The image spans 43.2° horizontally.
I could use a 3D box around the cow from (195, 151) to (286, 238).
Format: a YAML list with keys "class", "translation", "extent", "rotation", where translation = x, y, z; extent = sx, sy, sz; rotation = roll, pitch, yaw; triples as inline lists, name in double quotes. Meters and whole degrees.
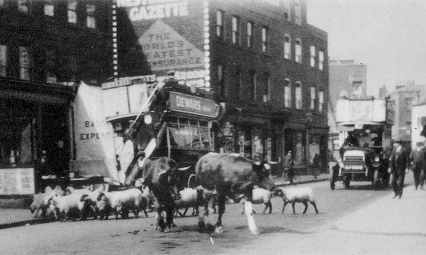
- class: "cow"
  translation: [0.809, 2.650, 22.379]
  extent: [2.984, 3.286, 3.282]
  rotation: [-2, 9, -3]

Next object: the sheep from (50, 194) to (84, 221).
- class: "sheep"
  translation: [-6.596, 3.627, 24.692]
  extent: [1.468, 1.146, 0.610]
  rotation: [-2, 10, 0]

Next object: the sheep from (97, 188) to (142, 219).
- class: "sheep"
  translation: [-4.233, 3.487, 24.449]
  extent: [1.791, 0.836, 0.520]
  rotation: [0, 10, -10]

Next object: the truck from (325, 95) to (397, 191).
- class: "truck"
  translation: [9.223, 1.075, 33.031]
  extent: [3.486, 4.842, 7.937]
  rotation: [-1, -3, 30]

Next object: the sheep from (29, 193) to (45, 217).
- class: "sheep"
  translation: [-8.192, 3.566, 25.175]
  extent: [0.477, 1.095, 0.819]
  rotation: [-12, 14, -41]

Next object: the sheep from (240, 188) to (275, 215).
- class: "sheep"
  translation: [2.040, 3.414, 25.028]
  extent: [2.065, 1.134, 0.585]
  rotation: [-6, -25, 31]

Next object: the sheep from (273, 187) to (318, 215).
- class: "sheep"
  translation: [3.648, 3.293, 24.317]
  extent: [2.327, 0.984, 0.547]
  rotation: [6, -18, -19]

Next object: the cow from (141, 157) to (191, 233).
- class: "cow"
  translation: [-2.048, 2.746, 22.073]
  extent: [1.516, 3.038, 0.987]
  rotation: [-2, 11, 3]

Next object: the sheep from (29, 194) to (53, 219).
- class: "sheep"
  translation: [-8.047, 3.593, 25.063]
  extent: [1.337, 1.065, 0.470]
  rotation: [3, 11, 25]
